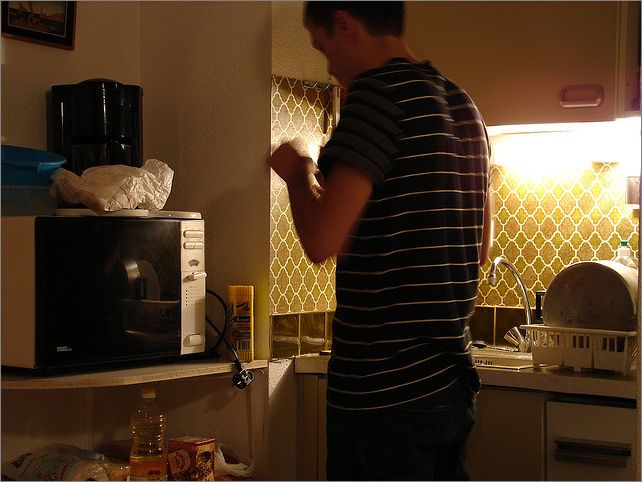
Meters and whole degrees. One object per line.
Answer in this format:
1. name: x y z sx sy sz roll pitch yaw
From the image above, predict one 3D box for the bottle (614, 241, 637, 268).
1. bottle: 1.155 0.042 2.170 0.077 0.104 0.101 0 -3 24
